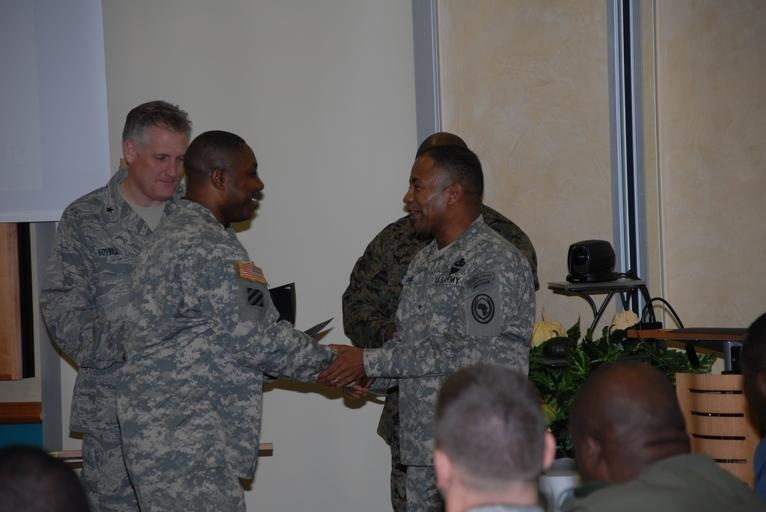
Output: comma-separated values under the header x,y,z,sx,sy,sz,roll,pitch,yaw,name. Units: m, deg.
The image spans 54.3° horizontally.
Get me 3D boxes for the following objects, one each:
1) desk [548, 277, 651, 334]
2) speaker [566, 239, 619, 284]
x,y,z,sx,sy,sz,roll,pitch,yaw,name
1.238,0.291,4.222,0.411,0.276,0.370,1,-2,-9,desk
1.134,0.038,4.054,0.245,0.211,0.212,3,-6,-29,speaker
